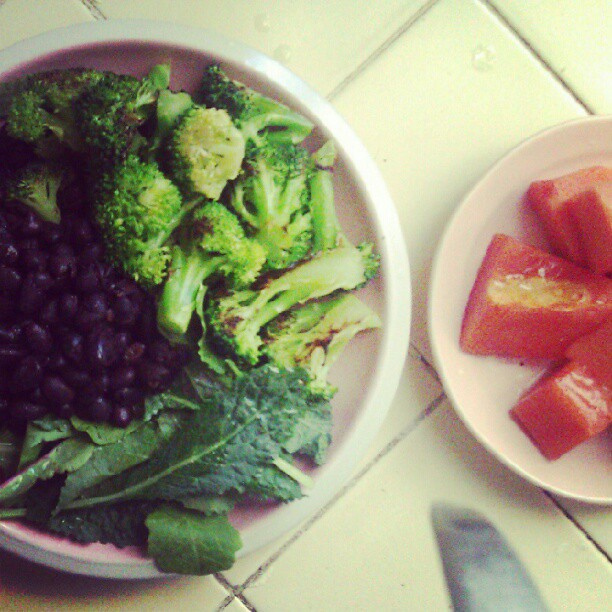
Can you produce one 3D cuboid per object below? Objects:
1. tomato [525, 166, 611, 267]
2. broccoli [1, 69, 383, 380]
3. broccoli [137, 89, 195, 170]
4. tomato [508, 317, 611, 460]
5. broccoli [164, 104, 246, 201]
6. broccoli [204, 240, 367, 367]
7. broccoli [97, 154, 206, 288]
[{"bbox_3d":[0.505,-0.166,1.178,0.154,0.142,0.110,-16,34,10],"label":"tomato"},{"bbox_3d":[-0.194,-0.157,1.136,0.439,0.578,0.182,-57,19,-11],"label":"broccoli"},{"bbox_3d":[-0.234,-0.282,1.059,0.101,0.119,0.031,12,-4,5],"label":"broccoli"},{"bbox_3d":[0.490,0.165,1.160,0.200,0.212,0.104,-27,34,-8],"label":"tomato"},{"bbox_3d":[-0.158,-0.227,0.990,0.111,0.144,0.047,-5,3,-10],"label":"broccoli"},{"bbox_3d":[-0.030,-0.005,1.118,0.278,0.122,0.142,-41,52,-18],"label":"broccoli"},{"bbox_3d":[-0.262,-0.144,1.026,0.153,0.189,0.096,11,13,-1],"label":"broccoli"}]
